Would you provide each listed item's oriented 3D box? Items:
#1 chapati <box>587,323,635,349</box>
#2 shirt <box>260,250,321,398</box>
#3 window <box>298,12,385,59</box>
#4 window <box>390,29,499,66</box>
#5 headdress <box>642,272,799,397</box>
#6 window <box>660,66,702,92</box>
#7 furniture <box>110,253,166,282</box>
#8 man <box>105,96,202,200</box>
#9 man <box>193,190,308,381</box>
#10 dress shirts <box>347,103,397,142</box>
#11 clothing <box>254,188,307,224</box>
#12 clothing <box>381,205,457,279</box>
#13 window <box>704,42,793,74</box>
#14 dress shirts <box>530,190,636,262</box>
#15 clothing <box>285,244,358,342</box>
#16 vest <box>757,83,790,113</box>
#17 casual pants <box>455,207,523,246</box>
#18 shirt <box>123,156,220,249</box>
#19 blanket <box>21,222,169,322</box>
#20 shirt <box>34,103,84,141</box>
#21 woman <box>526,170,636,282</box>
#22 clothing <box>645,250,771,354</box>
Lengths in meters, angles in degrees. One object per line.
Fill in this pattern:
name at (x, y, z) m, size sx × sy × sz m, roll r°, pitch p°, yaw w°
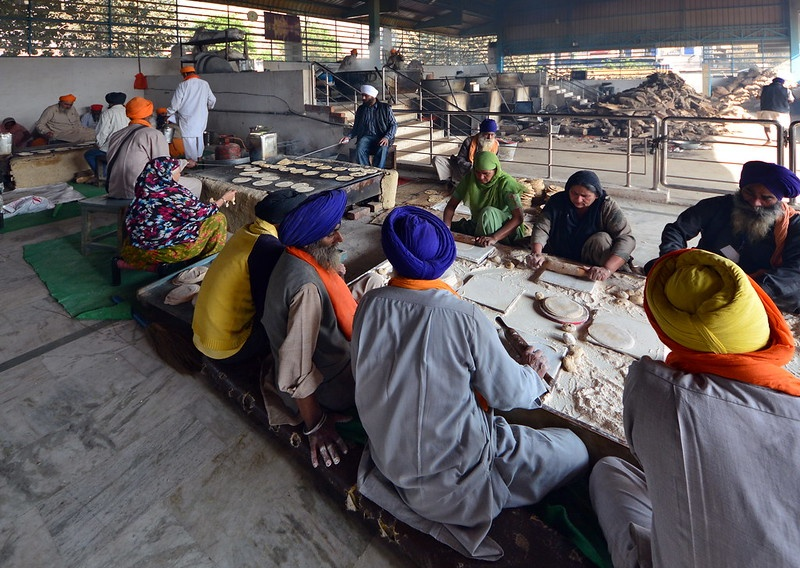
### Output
chapati at (1.267, 0.322, 2.801) m, size 0.159 × 0.034 × 0.162 m, roll 21°, pitch 36°, yaw 32°
shirt at (-0.523, 0.172, 2.239) m, size 0.253 × 0.566 × 0.581 m, roll -7°, pitch 31°, yaw -12°
window at (-2.073, -7.731, 14.665) m, size 0.390 × 1.259 × 2.748 m, roll 18°, pitch 27°, yaw 32°
window at (1.457, -10.324, 20.258) m, size 6.340 × 1.272 × 0.063 m, roll 23°, pitch 41°, yaw 38°
headdress at (1.133, 0.198, 1.659) m, size 0.340 × 0.199 × 0.428 m, roll -12°, pitch 24°, yaw -22°
window at (11.209, -7.906, 17.903) m, size 1.011 × 0.778 × 1.630 m, roll 13°, pitch 25°, yaw 24°
furniture at (-2.383, -0.159, 4.132) m, size 0.300 × 0.226 × 0.304 m, roll 29°, pitch 35°, yaw 35°
man at (-2.586, -1.276, 4.892) m, size 0.818 × 1.248 × 0.774 m, roll 12°, pitch 14°, yaw 23°
man at (-0.850, -0.051, 2.852) m, size 0.692 × 0.978 × 0.683 m, roll 2°, pitch 18°, yaw -41°
dress shirts at (-0.419, -2.421, 6.896) m, size 0.726 × 0.605 × 0.422 m, roll 2°, pitch 15°, yaw 14°
clothing at (-0.709, -0.448, 2.680) m, size 0.234 × 0.134 × 0.272 m, roll -23°, pitch 24°, yaw -26°
clothing at (0.072, -0.164, 1.897) m, size 0.293 × 0.278 × 0.218 m, roll 2°, pitch 23°, yaw -1°
window at (13.099, -8.653, 17.648) m, size 2.883 × 1.127 × 0.437 m, roll 9°, pitch 24°, yaw 15°
dress shirts at (1.433, -0.487, 3.712) m, size 0.746 × 0.396 × 0.596 m, roll 20°, pitch 40°, yaw 41°
clothing at (-0.327, 0.027, 2.429) m, size 0.203 × 0.478 × 0.358 m, roll -26°, pitch 31°, yaw -17°
vest at (7.782, -3.869, 9.601) m, size 0.495 × 0.554 × 0.469 m, roll 11°, pitch 24°, yaw 18°
casual pants at (0.912, -0.530, 4.291) m, size 0.435 × 0.198 × 0.412 m, roll -7°, pitch 24°, yaw -33°
shirt at (-1.991, -0.755, 4.105) m, size 0.649 × 0.737 × 0.868 m, roll 31°, pitch 38°, yaw 34°
blanket at (-2.913, -0.063, 4.191) m, size 0.720 × 0.055 × 1.481 m, roll -16°, pitch 29°, yaw -40°
shirt at (-5.741, -2.737, 7.928) m, size 0.767 × 0.555 × 0.631 m, roll -12°, pitch 47°, yaw -43°
woman at (1.441, -0.430, 3.794) m, size 0.852 × 0.967 × 1.127 m, roll 4°, pitch 33°, yaw 21°
clothing at (1.102, 0.050, 1.728) m, size 0.296 × 0.337 × 0.390 m, roll -32°, pitch 39°, yaw -29°
